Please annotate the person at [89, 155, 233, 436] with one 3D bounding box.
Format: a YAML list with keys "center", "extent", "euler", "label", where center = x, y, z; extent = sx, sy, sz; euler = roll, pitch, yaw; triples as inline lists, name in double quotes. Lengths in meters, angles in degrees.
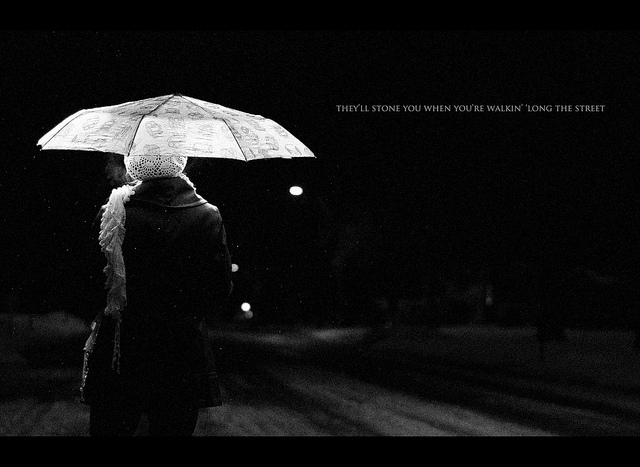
- center: [-1.234, 0.518, 5.361]
  extent: [1.031, 2.256, 0.525]
  euler: [2, -3, -10]
  label: "person"

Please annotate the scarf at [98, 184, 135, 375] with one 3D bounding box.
- center: [-1.597, 0.368, 5.262]
  extent: [0.225, 1.469, 0.247]
  euler: [3, -3, -12]
  label: "scarf"
